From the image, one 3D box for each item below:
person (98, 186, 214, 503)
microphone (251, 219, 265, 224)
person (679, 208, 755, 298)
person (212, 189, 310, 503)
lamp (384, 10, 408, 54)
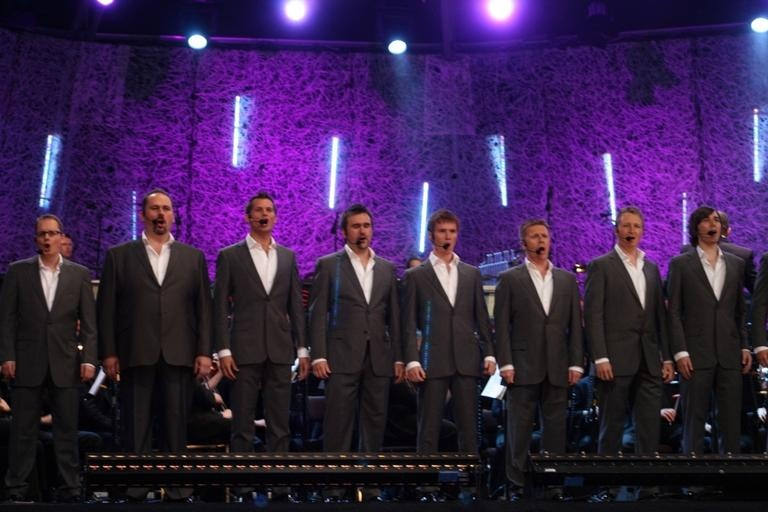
[{"bbox_3d":[-1.779,0.480,5.953,0.871,1.997,0.362,6,-15,-19],"label":"person"},{"bbox_3d":[-1.004,-0.276,6.181,0.074,0.037,0.027,2,-26,-6],"label":"microphone"},{"bbox_3d":[3.026,-0.017,6.916,1.117,0.686,0.301,7,-4,7],"label":"person"},{"bbox_3d":[-0.978,0.504,6.132,0.792,2.050,0.331,3,-15,-7],"label":"person"},{"bbox_3d":[0.148,-2.845,9.731,0.453,0.568,0.429,0,-14,0],"label":"lamp"}]
